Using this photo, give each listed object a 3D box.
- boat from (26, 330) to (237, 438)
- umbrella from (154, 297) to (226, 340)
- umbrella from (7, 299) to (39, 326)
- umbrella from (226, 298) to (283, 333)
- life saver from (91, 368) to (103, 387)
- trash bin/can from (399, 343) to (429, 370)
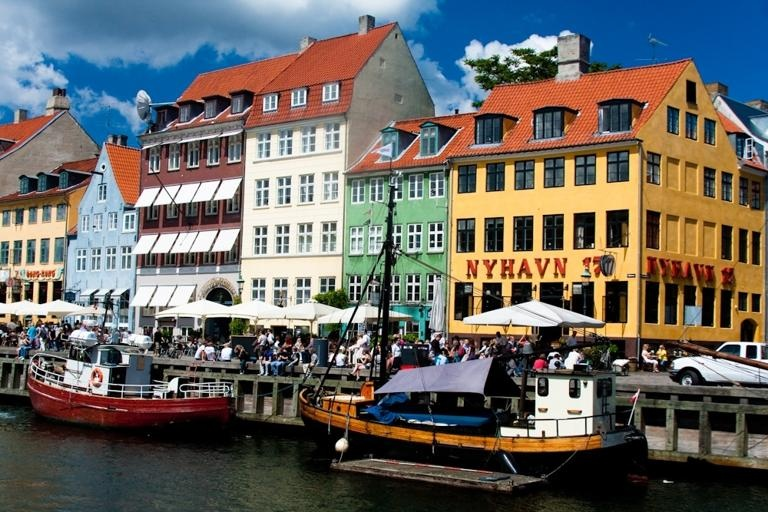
[{"bbox_3d":[-12.378,6.433,59.976,11.386,3.746,4.196,4,-1,36],"label":"boat"},{"bbox_3d":[-11.042,3.161,70.775,3.685,1.253,3.506,0,2,-18],"label":"umbrella"},{"bbox_3d":[-25.238,4.065,86.264,2.278,1.652,2.399,-4,6,-38],"label":"umbrella"},{"bbox_3d":[-6.848,4.098,69.260,3.274,2.154,3.266,-1,2,-14],"label":"umbrella"},{"bbox_3d":[-13.461,5.761,57.909,0.818,0.786,0.244,-3,-14,39],"label":"life saver"},{"bbox_3d":[1.485,4.882,59.707,1.735,1.613,1.024,-8,-14,44],"label":"trash bin/can"}]
